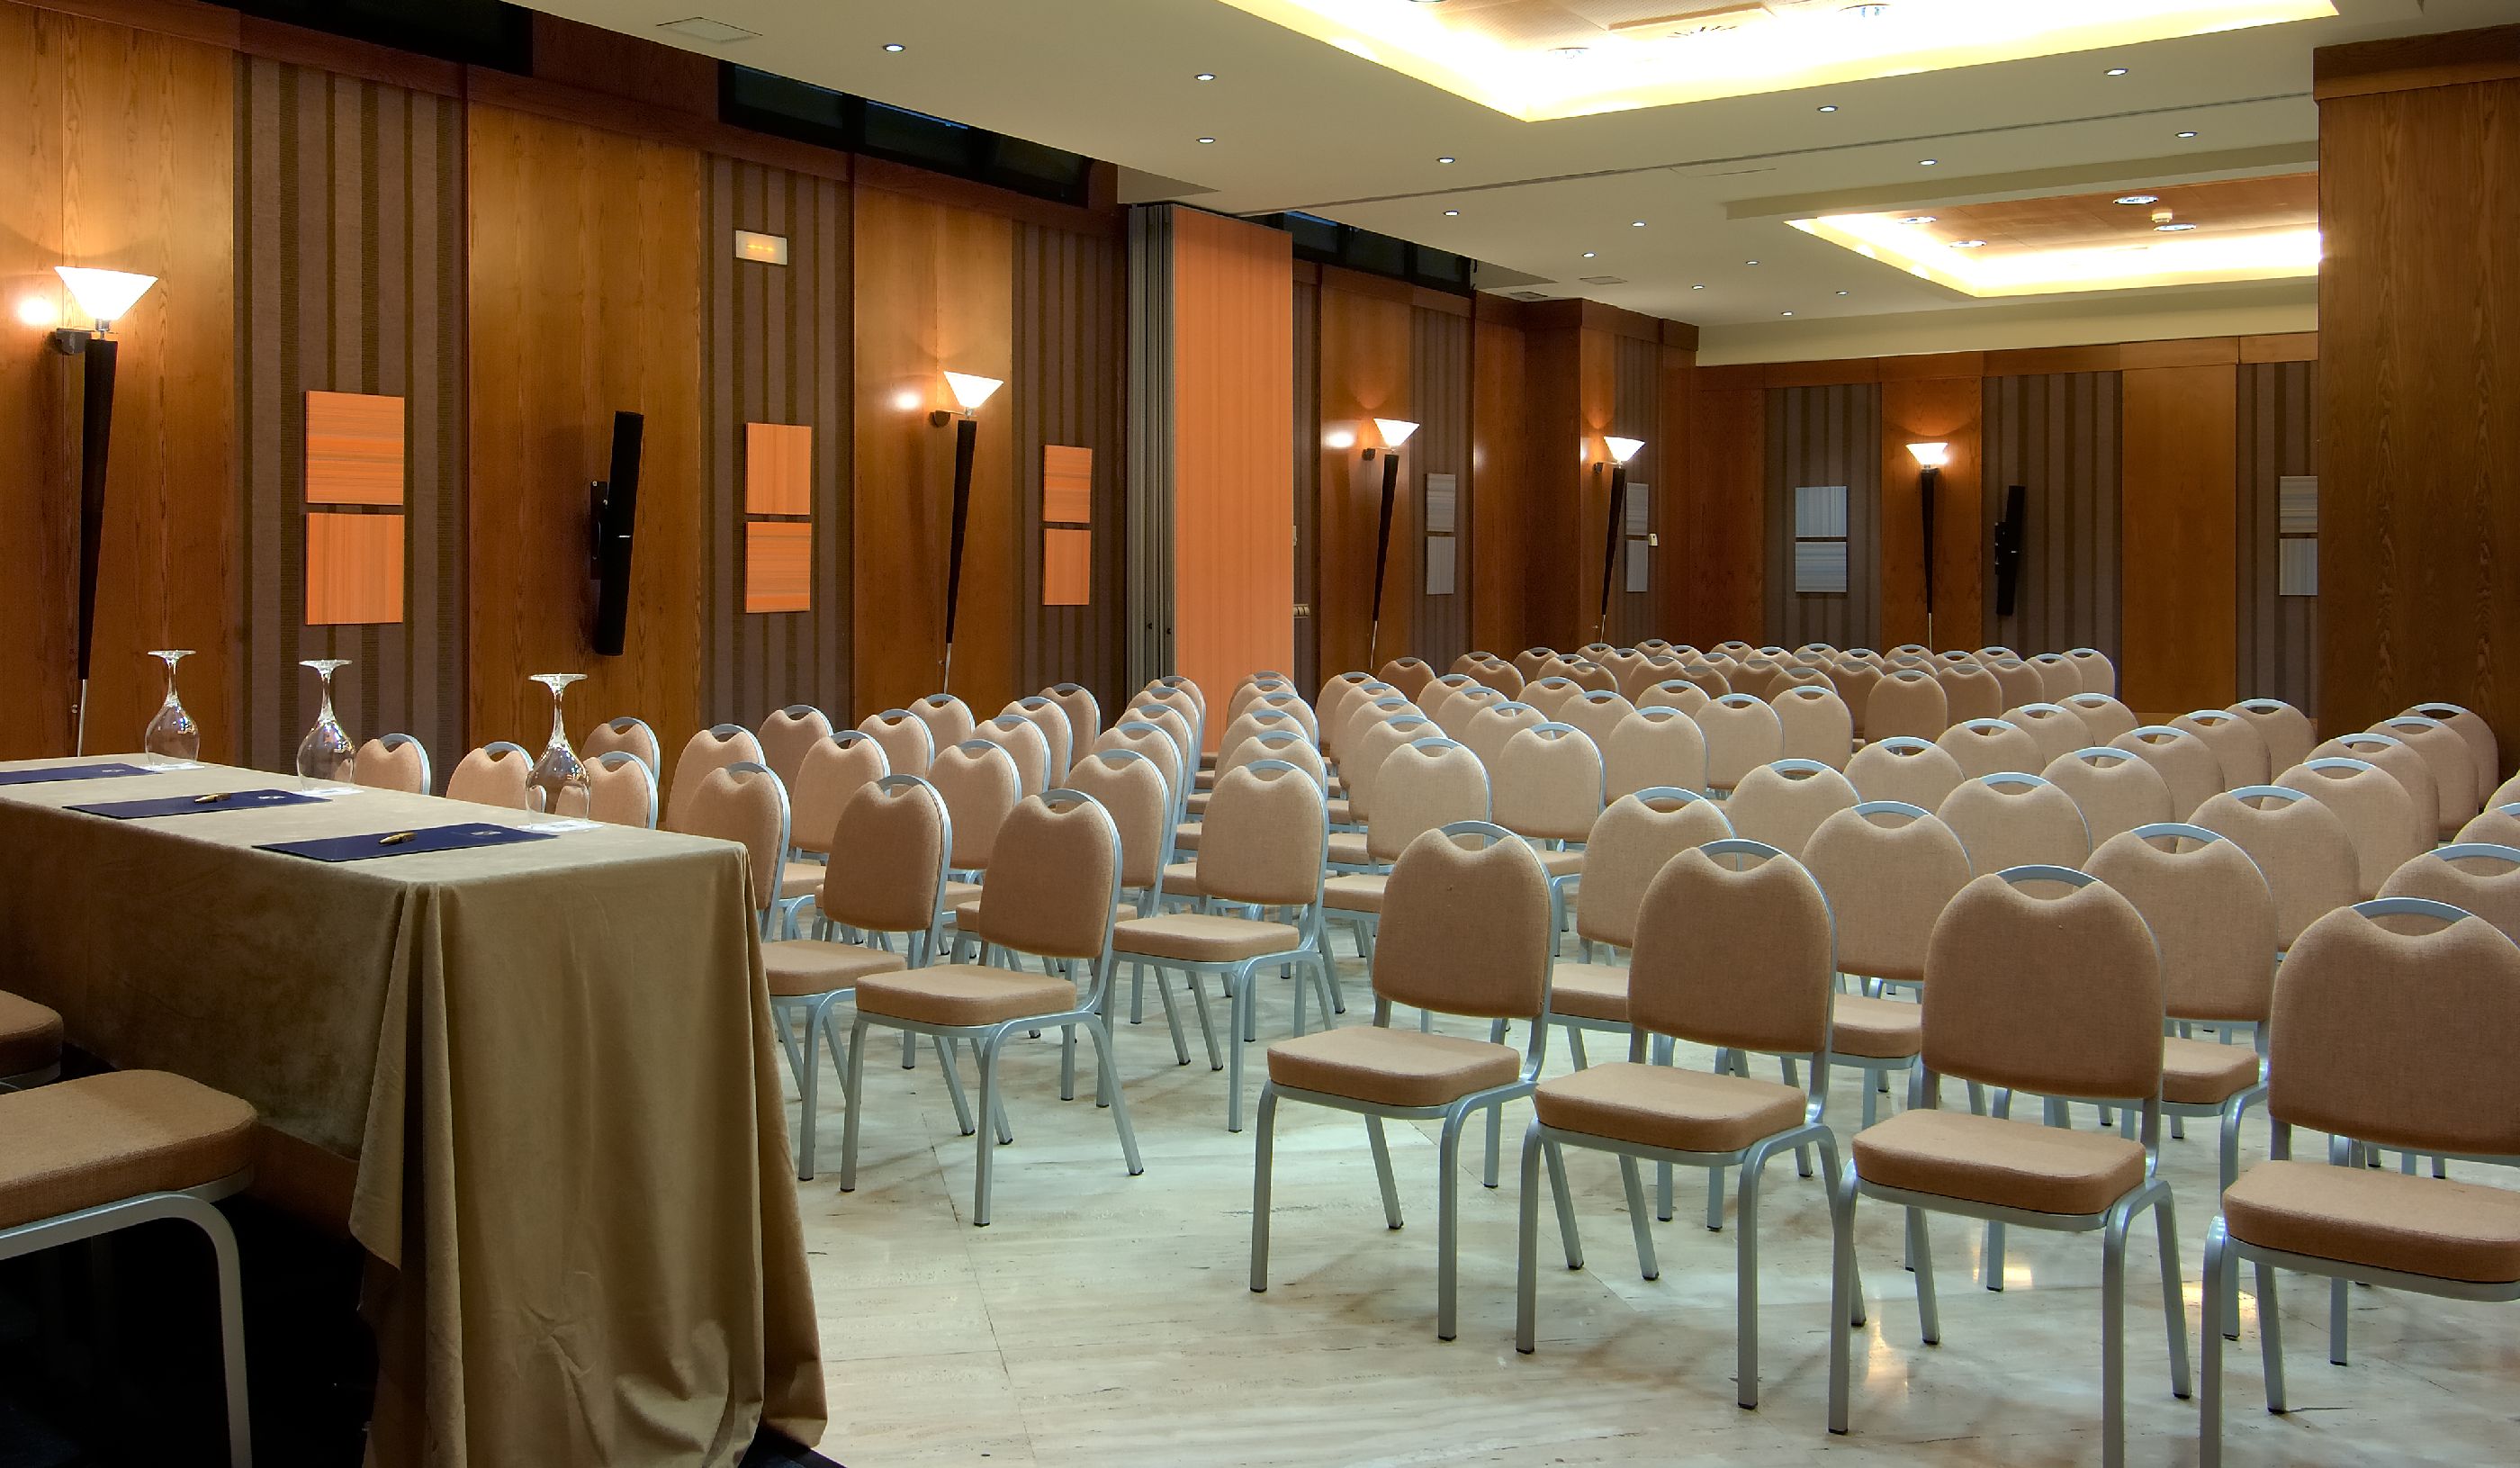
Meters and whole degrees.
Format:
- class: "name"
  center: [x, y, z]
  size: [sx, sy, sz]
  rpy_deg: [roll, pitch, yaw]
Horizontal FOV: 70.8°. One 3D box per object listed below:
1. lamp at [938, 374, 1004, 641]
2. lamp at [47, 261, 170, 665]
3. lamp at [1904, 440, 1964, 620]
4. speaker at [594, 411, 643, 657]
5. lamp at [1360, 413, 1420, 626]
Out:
- class: "lamp"
  center: [-2.117, -1.664, 12.946]
  size: [0.327, 1.934, 0.747]
  rpy_deg: [4, 13, 19]
- class: "lamp"
  center: [-5.906, -1.286, 8.918]
  size: [0.540, 2.032, 0.535]
  rpy_deg: [3, 1, -16]
- class: "lamp"
  center: [7.473, -2.111, 19.734]
  size: [0.722, 2.344, 0.672]
  rpy_deg: [-1, 7, 1]
- class: "speaker"
  center: [-3.975, -1.227, 10.891]
  size: [0.240, 1.465, 0.408]
  rpy_deg: [5, 13, 19]
- class: "lamp"
  center: [1.214, -1.982, 16.793]
  size: [0.309, 2.029, 1.058]
  rpy_deg: [4, 12, 17]
